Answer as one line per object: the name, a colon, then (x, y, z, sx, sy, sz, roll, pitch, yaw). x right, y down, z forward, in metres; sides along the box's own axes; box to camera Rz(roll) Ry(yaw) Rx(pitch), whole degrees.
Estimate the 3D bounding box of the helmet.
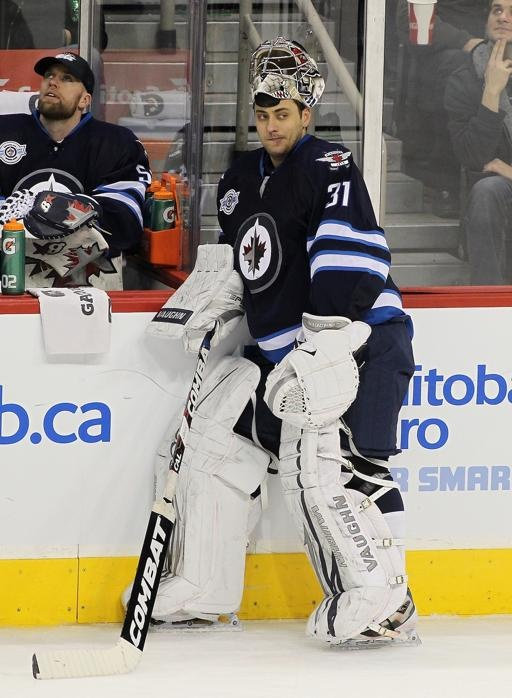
helmet: (0.098, -0.695, 2.188, 0.179, 0.174, 0.150, -5, 23, 17)
